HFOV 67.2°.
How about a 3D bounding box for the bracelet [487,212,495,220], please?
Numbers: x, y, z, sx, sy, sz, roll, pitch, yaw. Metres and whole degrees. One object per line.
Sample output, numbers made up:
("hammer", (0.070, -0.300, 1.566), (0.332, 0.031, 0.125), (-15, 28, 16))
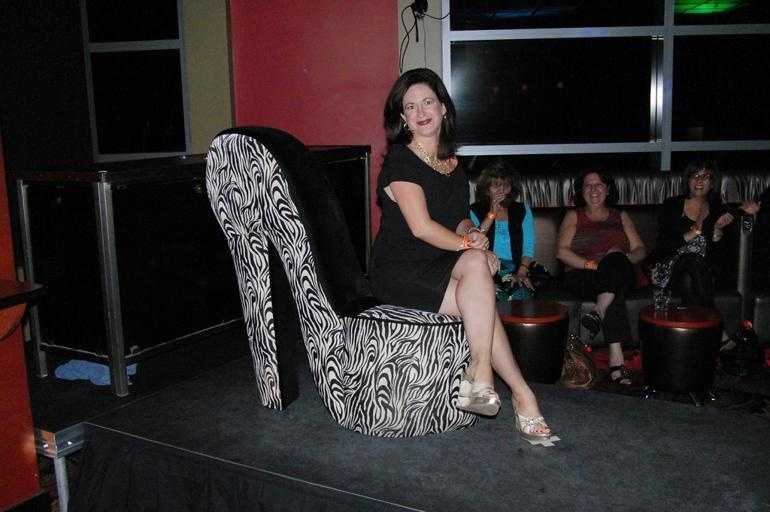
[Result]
("bracelet", (0.563, -0.213, 3.051), (0.050, 0.026, 0.071), (0, 11, -4))

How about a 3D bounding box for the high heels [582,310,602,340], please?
("high heels", (1.496, 0.490, 4.157), (0.101, 0.261, 0.069), (12, 35, 25))

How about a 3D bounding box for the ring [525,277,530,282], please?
("ring", (1.065, 0.177, 4.316), (0.026, 0.020, 0.048), (-3, -9, 18))

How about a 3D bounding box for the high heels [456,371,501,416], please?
("high heels", (0.387, 0.584, 2.379), (0.093, 0.111, 0.251), (22, -18, -17))

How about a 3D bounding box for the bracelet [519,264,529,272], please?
("bracelet", (1.072, 0.094, 4.434), (0.067, 0.042, 0.041), (12, 14, 30))

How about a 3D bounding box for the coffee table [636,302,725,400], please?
("coffee table", (1.972, 0.647, 3.878), (0.505, 0.577, 0.513), (-9, 13, -35))

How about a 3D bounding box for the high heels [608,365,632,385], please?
("high heels", (1.663, 0.804, 4.057), (0.162, 0.102, 0.263), (3, 13, 18))

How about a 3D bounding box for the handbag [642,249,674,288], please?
("handbag", (2.048, 0.101, 4.379), (0.115, 0.146, 0.280), (24, 11, 0))

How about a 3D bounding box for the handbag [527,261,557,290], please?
("handbag", (1.186, 0.154, 4.399), (0.151, 0.096, 0.264), (5, 6, -10))

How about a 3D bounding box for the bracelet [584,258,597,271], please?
("bracelet", (1.587, 0.060, 4.434), (0.051, 0.094, 0.031), (7, 9, 18))

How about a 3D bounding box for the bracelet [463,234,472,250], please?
("bracelet", (0.382, -0.065, 2.606), (0.030, 0.058, 0.021), (1, -5, 7))

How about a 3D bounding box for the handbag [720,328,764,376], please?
("handbag", (2.525, 0.651, 4.053), (0.328, 0.332, 0.132), (-5, 13, -17))

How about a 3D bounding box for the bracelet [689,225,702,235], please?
("bracelet", (2.351, -0.196, 4.363), (0.056, 0.066, 0.174), (1, -5, 13))

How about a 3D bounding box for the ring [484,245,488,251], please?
("ring", (0.467, -0.039, 2.671), (0.016, 0.022, 0.054), (0, 14, 13))

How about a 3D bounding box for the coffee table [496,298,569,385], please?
("coffee table", (1.012, 0.579, 3.856), (0.455, 0.410, 0.420), (-6, 2, -36))
